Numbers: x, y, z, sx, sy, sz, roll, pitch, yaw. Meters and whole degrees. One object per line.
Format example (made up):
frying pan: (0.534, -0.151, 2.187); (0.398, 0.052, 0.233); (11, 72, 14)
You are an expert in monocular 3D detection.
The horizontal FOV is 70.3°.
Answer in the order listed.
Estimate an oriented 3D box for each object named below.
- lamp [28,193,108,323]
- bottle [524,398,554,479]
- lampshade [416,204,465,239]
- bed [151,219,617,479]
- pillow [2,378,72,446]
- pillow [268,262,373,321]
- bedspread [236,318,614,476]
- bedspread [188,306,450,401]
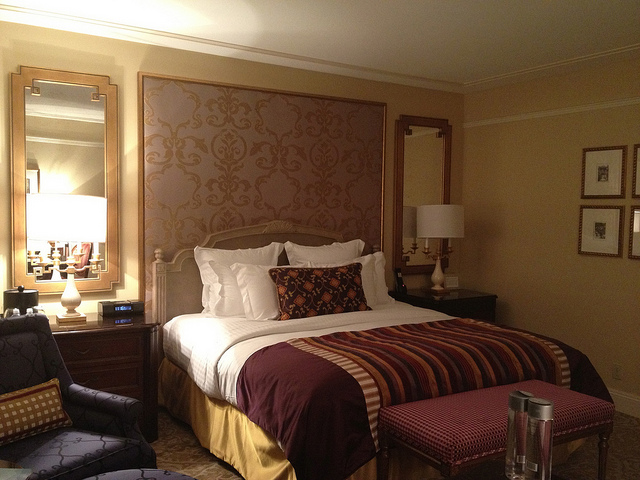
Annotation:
lamp: (-2.045, 0.109, 3.649); (0.564, 1.122, 0.477); (3, 4, -35)
bottle: (0.751, 0.681, 1.565); (0.086, 0.278, 0.099); (1, 4, 26)
lampshade: (1.377, -0.195, 5.249); (0.554, 0.382, 0.560); (3, -2, -39)
bed: (0.408, 0.781, 3.452); (1.761, 1.066, 1.634); (0, -1, -29)
pillow: (-1.573, 0.907, 2.505); (0.258, 0.235, 0.348); (7, 3, 29)
pillow: (0.012, 0.455, 4.013); (0.826, 0.484, 0.201); (-4, -17, -18)
bedspread: (0.579, 0.971, 3.134); (2.172, 0.552, 0.898); (-3, 4, -28)
bedspread: (-0.245, 0.785, 3.928); (2.117, 0.510, 1.656); (3, 5, -29)
